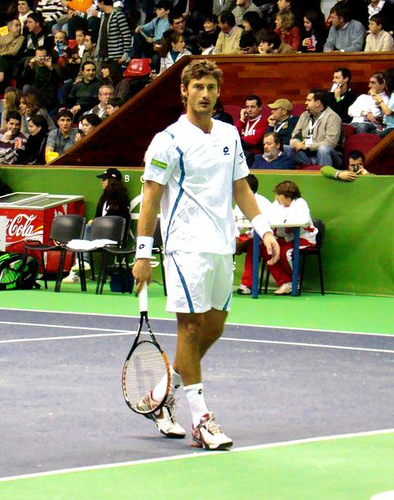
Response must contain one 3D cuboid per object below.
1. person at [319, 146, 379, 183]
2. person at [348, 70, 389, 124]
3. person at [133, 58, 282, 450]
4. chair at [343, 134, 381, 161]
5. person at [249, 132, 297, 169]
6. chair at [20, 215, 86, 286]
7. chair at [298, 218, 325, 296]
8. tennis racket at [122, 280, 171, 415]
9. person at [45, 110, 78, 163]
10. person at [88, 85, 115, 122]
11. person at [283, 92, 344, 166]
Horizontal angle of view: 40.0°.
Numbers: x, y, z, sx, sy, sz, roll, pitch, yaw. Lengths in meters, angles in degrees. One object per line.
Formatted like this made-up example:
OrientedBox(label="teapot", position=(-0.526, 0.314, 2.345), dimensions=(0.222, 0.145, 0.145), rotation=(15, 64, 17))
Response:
OrientedBox(label="person", position=(2.425, -1.348, 8.695), dimensions=(0.577, 0.501, 0.950), rotation=(1, -37, 7))
OrientedBox(label="person", position=(3.224, -2.821, 10.197), dimensions=(0.298, 0.951, 0.766), rotation=(2, -3, -29))
OrientedBox(label="person", position=(0.081, -0.015, 2.653), dimensions=(0.667, 1.862, 0.435), rotation=(2, -3, -35))
OrientedBox(label="chair", position=(2.940, -1.840, 9.841), dimensions=(0.647, 0.696, 0.635), rotation=(3, 11, 7))
OrientedBox(label="person", position=(1.336, -1.639, 9.614), dimensions=(0.570, 0.820, 1.011), rotation=(-14, 18, -30))
OrientedBox(label="chair", position=(-2.092, 0.052, 9.032), dimensions=(0.938, 1.072, 0.852), rotation=(18, 11, 23))
OrientedBox(label="chair", position=(1.848, 0.107, 8.758), dimensions=(0.417, 1.258, 0.673), rotation=(-1, -3, 12))
OrientedBox(label="tennis racket", position=(-0.262, 0.503, 2.715), dimensions=(0.224, 0.701, 0.570), rotation=(0, -3, -9))
OrientedBox(label="person", position=(-2.947, -2.423, 11.721), dimensions=(0.661, 1.162, 0.607), rotation=(0, -3, -9))
OrientedBox(label="person", position=(-2.140, -3.369, 12.409), dimensions=(0.469, 0.876, 0.781), rotation=(1, -3, -16))
OrientedBox(label="person", position=(2.082, -2.043, 9.767), dimensions=(0.944, 1.505, 1.030), rotation=(-22, 24, -38))
